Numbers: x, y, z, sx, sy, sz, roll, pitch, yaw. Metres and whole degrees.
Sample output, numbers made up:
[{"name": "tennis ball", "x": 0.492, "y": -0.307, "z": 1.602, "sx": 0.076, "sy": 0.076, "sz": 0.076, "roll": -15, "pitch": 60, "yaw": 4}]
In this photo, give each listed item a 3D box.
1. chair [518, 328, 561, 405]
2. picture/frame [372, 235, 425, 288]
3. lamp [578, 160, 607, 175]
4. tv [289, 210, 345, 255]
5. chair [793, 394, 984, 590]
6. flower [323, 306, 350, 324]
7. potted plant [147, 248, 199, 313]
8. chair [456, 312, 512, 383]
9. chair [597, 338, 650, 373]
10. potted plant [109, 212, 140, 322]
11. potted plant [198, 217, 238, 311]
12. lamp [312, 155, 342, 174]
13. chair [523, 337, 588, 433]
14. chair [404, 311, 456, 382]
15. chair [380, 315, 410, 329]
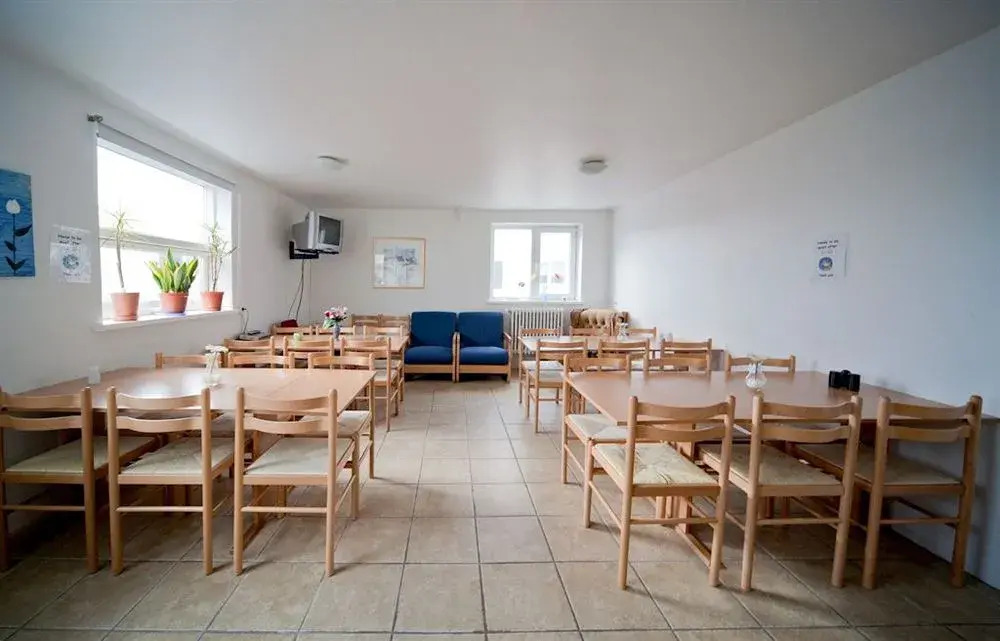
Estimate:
[{"name": "chair", "x": 0.424, "y": 0.515, "z": 7.114, "sx": 0.530, "sy": 0.704, "sz": 0.477, "roll": 13, "pitch": -12, "yaw": 16}, {"name": "picture/frame", "x": -1.414, "y": -0.831, "z": 8.793, "sx": 0.775, "sy": 0.705, "sz": 0.050, "roll": 0, "pitch": 1, "yaw": -10}, {"name": "lamp", "x": 0.948, "y": -1.558, "z": 6.546, "sx": 0.287, "sy": 0.086, "sz": 0.367, "roll": 1, "pitch": 2, "yaw": -7}, {"name": "tv", "x": -2.379, "y": -1.089, "z": 8.208, "sx": 0.471, "sy": 0.462, "sz": 0.680, "roll": 3, "pitch": 3, "yaw": 15}, {"name": "chair", "x": 2.705, "y": 1.136, "z": 4.687, "sx": 0.934, "sy": 1.230, "sz": 1.047, "roll": 2, "pitch": 3, "yaw": -20}, {"name": "flower", "x": -2.001, "y": -0.077, "z": 7.844, "sx": 0.244, "sy": 0.227, "sz": 0.220, "roll": 3, "pitch": -9, "yaw": -20}, {"name": "potted plant", "x": -2.953, "y": -0.343, "z": 5.806, "sx": 0.393, "sy": 0.574, "sz": 0.252, "roll": 0, "pitch": 3, "yaw": -21}, {"name": "chair", "x": -0.222, "y": 0.317, "z": 8.257, "sx": 0.630, "sy": 0.838, "sz": 0.736, "roll": 1, "pitch": 2, "yaw": -5}, {"name": "chair", "x": 1.141, "y": 0.400, "z": 6.155, "sx": 0.524, "sy": 0.489, "sz": 0.321, "roll": 1, "pitch": 12, "yaw": 4}, {"name": "potted plant", "x": -3.165, "y": -0.476, "z": 5.414, "sx": 0.191, "sy": 0.953, "sz": 0.335, "roll": -1, "pitch": 3, "yaw": -30}, {"name": "potted plant", "x": -2.862, "y": -0.554, "z": 6.495, "sx": 0.281, "sy": 0.918, "sz": 0.515, "roll": 0, "pitch": 3, "yaw": -13}, {"name": "lamp", "x": -1.700, "y": -1.580, "z": 6.465, "sx": 0.296, "sy": 0.093, "sz": 0.329, "roll": 0, "pitch": 2, "yaw": -15}, {"name": "chair", "x": 0.572, "y": 0.619, "z": 6.609, "sx": 0.564, "sy": 0.906, "sz": 0.629, "roll": 2, "pitch": 2, "yaw": 2}, {"name": "chair", "x": -0.865, "y": 0.308, "z": 8.178, "sx": 0.642, "sy": 0.837, "sz": 0.781, "roll": 1, "pitch": 2, "yaw": -5}, {"name": "chair", "x": -1.399, "y": 0.011, "z": 8.695, "sx": 0.364, "sy": 0.271, "sz": 0.204, "roll": 1, "pitch": 0, "yaw": -10}]
